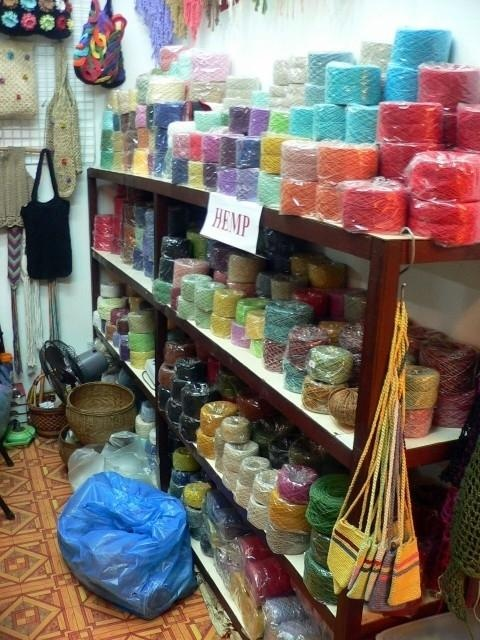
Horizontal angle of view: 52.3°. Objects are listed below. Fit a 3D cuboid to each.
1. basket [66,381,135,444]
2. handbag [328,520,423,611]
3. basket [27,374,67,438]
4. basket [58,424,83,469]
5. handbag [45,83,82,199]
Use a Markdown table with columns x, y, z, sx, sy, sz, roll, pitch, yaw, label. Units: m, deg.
| x | y | z | sx | sy | sz | roll | pitch | yaw | label |
| --- | --- | --- | --- | --- | --- | --- | --- | --- | --- |
| -0.714 | 0.470 | 2.548 | 0.349 | 0.230 | 0.324 | 9 | 20 | 13 | basket |
| 0.200 | 0.378 | 0.750 | 0.143 | 0.153 | 0.075 | 7 | 15 | 21 | handbag |
| -1.152 | 0.525 | 2.923 | 0.250 | 0.362 | 0.284 | -2 | 27 | -17 | basket |
| -0.862 | 0.663 | 2.590 | 0.183 | 0.151 | 0.208 | 0 | 15 | -14 | basket |
| -1.057 | -1.074 | 2.931 | 0.193 | 0.646 | 0.068 | -3 | 15 | -19 | handbag |
